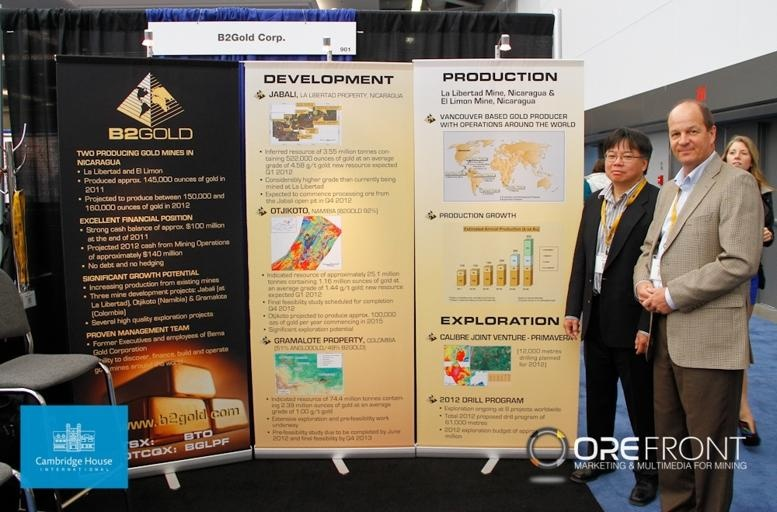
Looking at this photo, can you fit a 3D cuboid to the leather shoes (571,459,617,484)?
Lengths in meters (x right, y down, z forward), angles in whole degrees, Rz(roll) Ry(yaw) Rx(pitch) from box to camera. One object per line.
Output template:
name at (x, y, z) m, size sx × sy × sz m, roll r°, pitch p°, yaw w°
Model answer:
leather shoes at (1.399, 1.454, 4.322) m, size 0.360 × 0.125 × 0.121 m, roll -3°, pitch 8°, yaw -14°
